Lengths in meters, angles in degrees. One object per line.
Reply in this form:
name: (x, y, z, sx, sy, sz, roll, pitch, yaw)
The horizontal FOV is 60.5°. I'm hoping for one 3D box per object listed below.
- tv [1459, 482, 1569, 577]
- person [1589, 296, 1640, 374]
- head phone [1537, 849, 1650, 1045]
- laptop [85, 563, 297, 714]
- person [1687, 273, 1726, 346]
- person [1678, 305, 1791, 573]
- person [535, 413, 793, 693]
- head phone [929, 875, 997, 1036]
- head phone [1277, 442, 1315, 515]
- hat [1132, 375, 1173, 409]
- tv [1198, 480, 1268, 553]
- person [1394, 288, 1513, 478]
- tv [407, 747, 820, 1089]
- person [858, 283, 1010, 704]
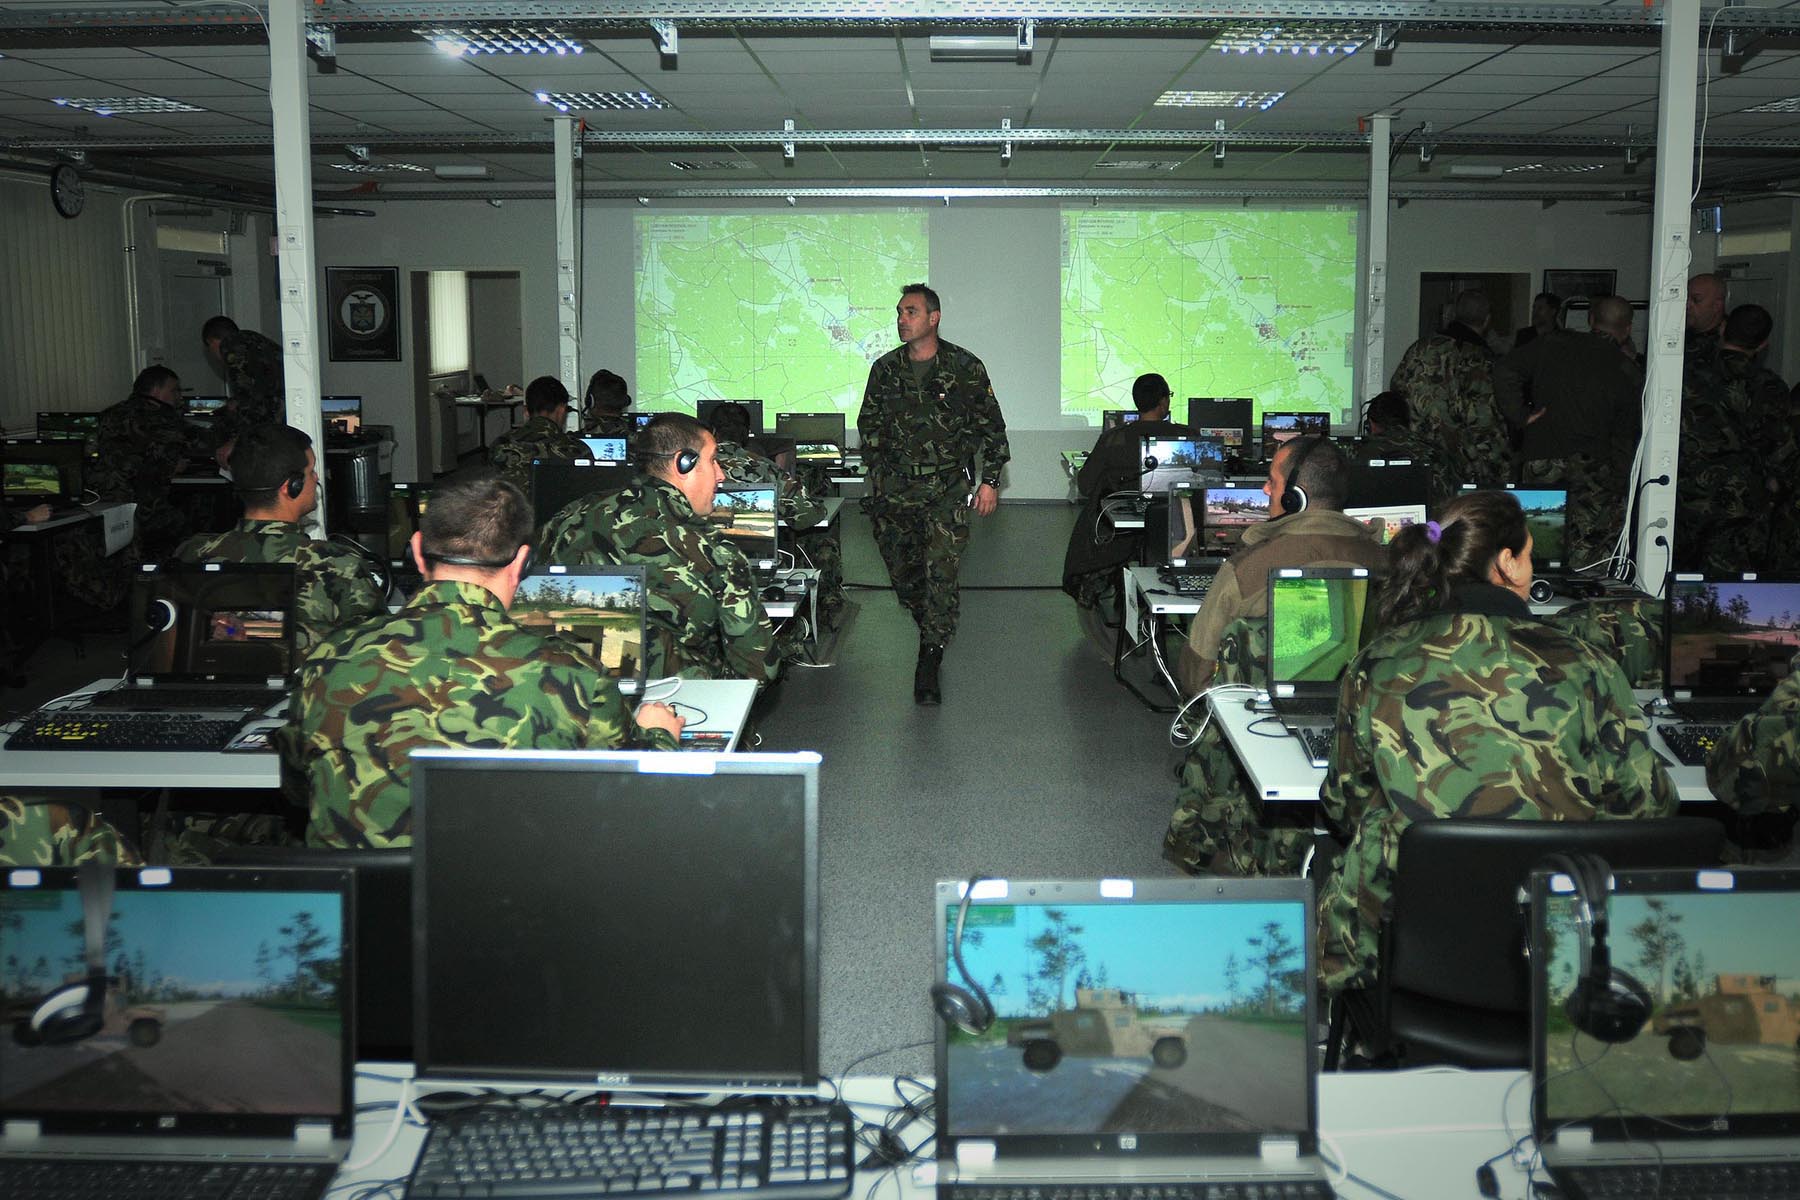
tv: (2.013, -0.225, 5.047, 0.423, 0.363, 0.055, 0, 5, 5)
person: (3.806, -1.428, 8.237, 0.225, 0.363, 0.814, 4, 13, 23)
head phone: (1.371, 0.699, 3.059, 0.224, 0.352, 0.098, 2, 13, 17)
laptop: (-2.224, 0.112, 4.951, 0.777, 0.481, 0.446, 1, 0, -3)
person: (4.360, -1.574, 8.375, 0.169, 0.382, 0.911, 5, 13, 26)
person: (4.920, -0.907, 9.089, 0.562, 1.637, 0.928, 5, 14, 27)
person: (-0.531, -0.050, 4.348, 0.429, 0.860, 0.314, 8, -36, -3)
head phone: (0.148, 0.700, 3.031, 0.178, 0.260, 0.099, 17, 6, 0)
head phone: (1.494, -0.456, 5.830, 0.101, 0.228, 0.265, 5, 15, 18)
hat: (1.437, -1.204, 8.802, 0.197, 0.219, 0.228, 1, 26, 9)
tv: (1.502, -0.379, 7.011, 0.401, 0.358, 0.027, 2, 14, -6)
person: (3.268, -1.264, 9.134, 0.683, 1.076, 2.818, 3, 13, 18)
tv: (-0.550, 0.627, 3.078, 0.755, 0.540, 0.051, -1, 5, 3)
person: (0.246, -0.418, 7.841, 0.833, 1.906, 0.486, 9, 16, 40)
